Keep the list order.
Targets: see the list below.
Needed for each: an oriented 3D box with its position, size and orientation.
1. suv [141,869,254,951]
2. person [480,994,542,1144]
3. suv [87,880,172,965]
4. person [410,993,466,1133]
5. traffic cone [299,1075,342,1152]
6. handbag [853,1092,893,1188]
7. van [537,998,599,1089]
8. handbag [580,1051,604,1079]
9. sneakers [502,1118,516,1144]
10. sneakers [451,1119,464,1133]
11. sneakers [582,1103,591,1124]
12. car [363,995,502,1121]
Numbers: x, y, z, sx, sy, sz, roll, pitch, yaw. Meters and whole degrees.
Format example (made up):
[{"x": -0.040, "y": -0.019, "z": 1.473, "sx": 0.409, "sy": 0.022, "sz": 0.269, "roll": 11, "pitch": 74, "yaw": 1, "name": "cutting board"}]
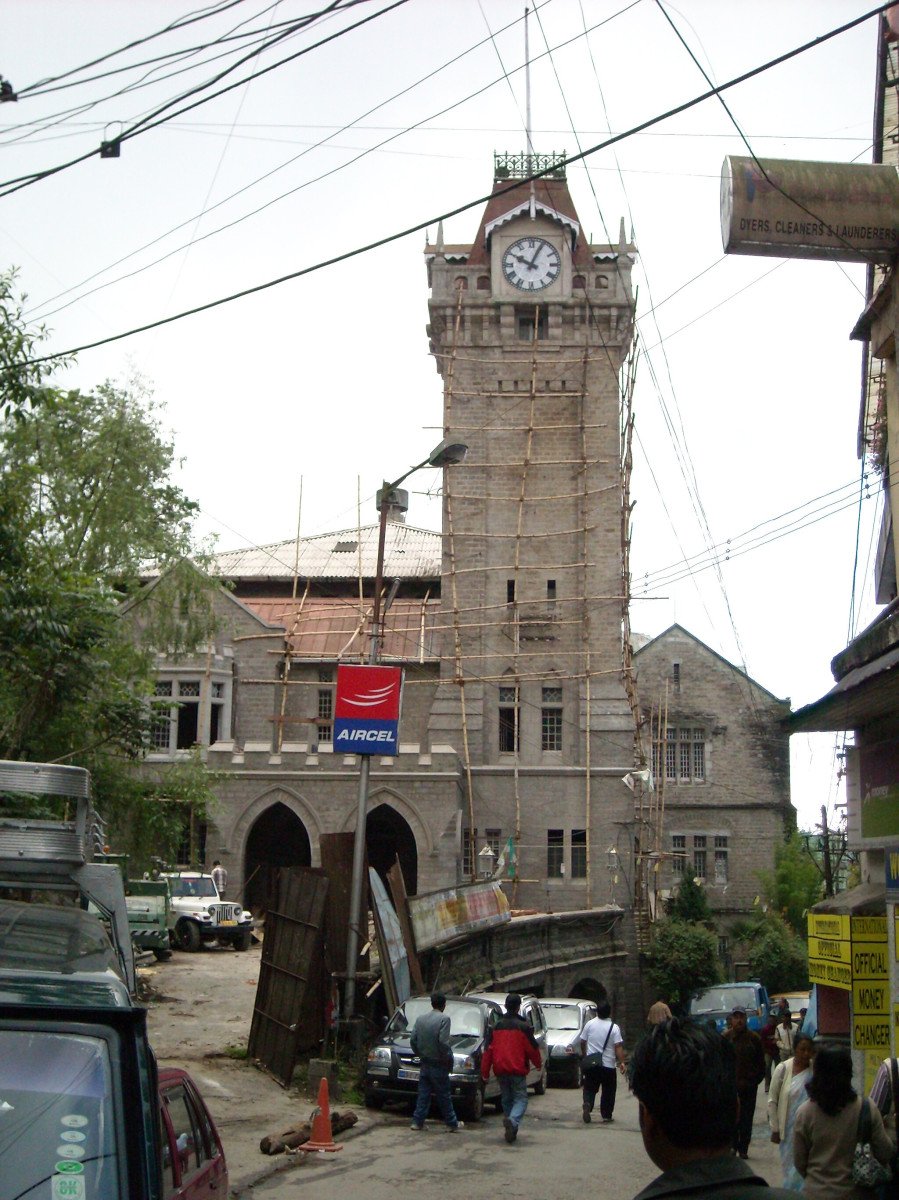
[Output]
[{"x": -6.917, "y": 8.150, "z": 37.907, "sx": 3.571, "sy": 2.068, "sz": 1.935, "roll": -11, "pitch": -15, "yaw": 38, "name": "suv"}, {"x": 0.671, "y": 5.106, "z": 16.012, "sx": 0.642, "sy": 1.494, "sz": 1.265, "roll": 2, "pitch": -14, "yaw": 2, "name": "person"}, {"x": -6.845, "y": 7.127, "z": 32.775, "sx": 1.172, "sy": 1.806, "sz": 1.814, "roll": -1, "pitch": -14, "yaw": -10, "name": "suv"}, {"x": -0.148, "y": 5.054, "z": 15.958, "sx": 0.511, "sy": 1.431, "sz": 1.288, "roll": 2, "pitch": -14, "yaw": 1, "name": "person"}, {"x": -1.226, "y": 4.969, "z": 14.021, "sx": 0.493, "sy": 0.582, "sz": 0.512, "roll": 13, "pitch": -19, "yaw": -41, "name": "traffic cone"}, {"x": 2.176, "y": 2.824, "z": 7.544, "sx": 0.188, "sy": 0.437, "sz": 0.219, "roll": -6, "pitch": -16, "yaw": 31, "name": "handbag"}, {"x": 1.930, "y": 7.699, "z": 26.053, "sx": 0.939, "sy": 1.089, "sz": 2.116, "roll": 2, "pitch": -16, "yaw": -3, "name": "van"}, {"x": 1.724, "y": 5.637, "z": 17.735, "sx": 0.232, "sy": 0.302, "sz": 0.449, "roll": 4, "pitch": -14, "yaw": -6, "name": "handbag"}, {"x": 0.614, "y": 5.602, "z": 15.405, "sx": 0.082, "sy": 0.260, "sz": 0.106, "roll": -4, "pitch": 3, "yaw": 12, "name": "sneakers"}, {"x": 0.073, "y": 5.795, "z": 16.062, "sx": 0.081, "sy": 0.121, "sz": 0.273, "roll": 1, "pitch": -6, "yaw": 12, "name": "sneakers"}, {"x": 1.670, "y": 6.290, "z": 17.864, "sx": 0.066, "sy": 0.209, "sz": 0.090, "roll": -4, "pitch": -7, "yaw": 4, "name": "sneakers"}, {"x": -0.218, "y": 5.663, "z": 18.238, "sx": 1.042, "sy": 1.063, "sz": 2.157, "roll": -3, "pitch": -25, "yaw": 10, "name": "car"}]
